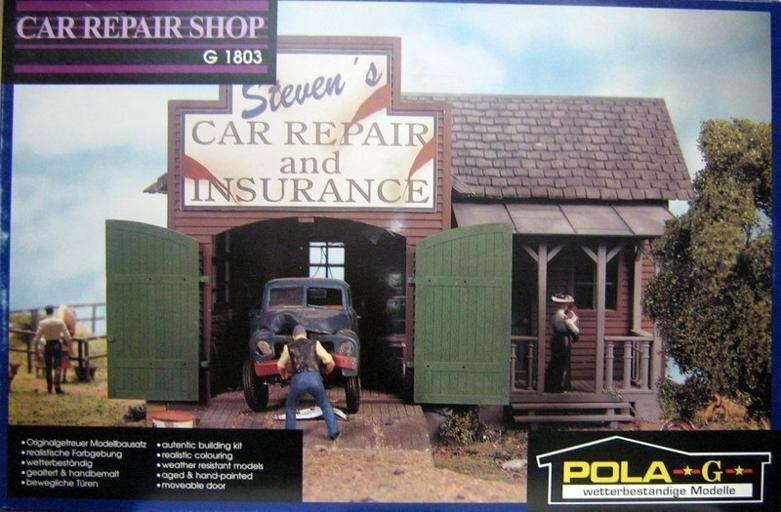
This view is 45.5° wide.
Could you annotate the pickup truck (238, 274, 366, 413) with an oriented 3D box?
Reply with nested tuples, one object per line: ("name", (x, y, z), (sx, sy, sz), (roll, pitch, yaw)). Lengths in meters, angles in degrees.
("pickup truck", (-1.367, 1.368, 16.020), (2.025, 2.151, 3.188), (-3, 2, -2))

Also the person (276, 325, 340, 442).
("person", (-1.320, 2.007, 14.716), (0.931, 1.800, 0.524), (0, -9, -3))

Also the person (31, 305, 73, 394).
("person", (-5.477, 1.548, 15.088), (0.526, 1.383, 0.380), (0, 0, -19))
